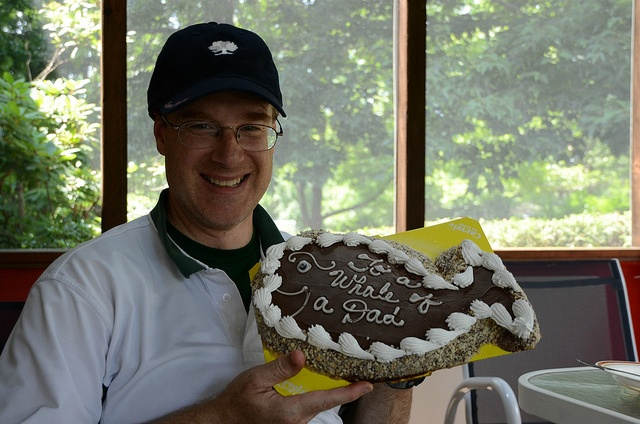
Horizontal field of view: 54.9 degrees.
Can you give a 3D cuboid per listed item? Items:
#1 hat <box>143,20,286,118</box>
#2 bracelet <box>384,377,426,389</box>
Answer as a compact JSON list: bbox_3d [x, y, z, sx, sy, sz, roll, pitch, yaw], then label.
[{"bbox_3d":[-0.477,-0.656,2.753,0.408,0.324,0.541,0,3,-25],"label":"hat"},{"bbox_3d":[0.376,0.761,2.725,0.128,0.022,0.115,-1,-6,-16],"label":"bracelet"}]
